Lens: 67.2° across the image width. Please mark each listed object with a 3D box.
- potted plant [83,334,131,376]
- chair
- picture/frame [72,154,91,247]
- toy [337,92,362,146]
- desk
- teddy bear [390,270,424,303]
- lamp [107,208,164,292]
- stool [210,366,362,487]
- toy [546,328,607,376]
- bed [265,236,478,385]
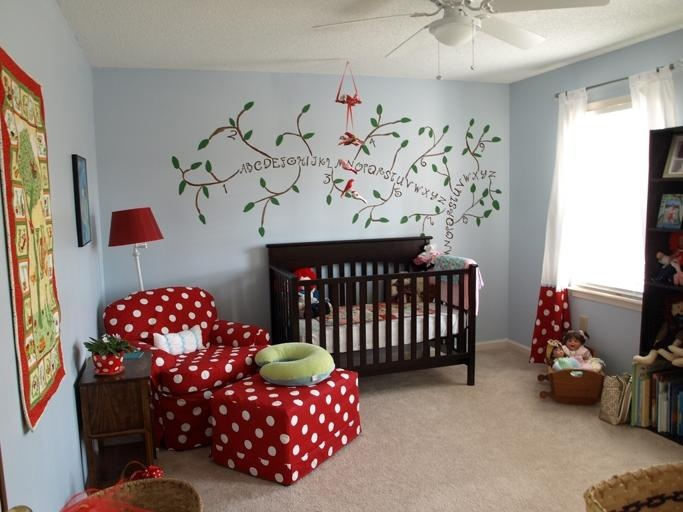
[{"bbox_3d":[-1.400,0.572,3.074,0.229,0.194,0.247,-5,-6,44],"label":"potted plant"},{"bbox_3d":[-1.111,0.673,3.832,1.128,1.062,1.005,3,5,39],"label":"chair"},{"bbox_3d":[-1.703,-0.360,3.380,0.075,0.617,0.573,-6,14,-22],"label":"picture/frame"},{"bbox_3d":[0.069,-1.157,4.325,0.208,0.441,0.472,0,12,2],"label":"toy"},{"bbox_3d":[-1.304,0.944,2.956,0.395,0.735,0.701,-3,7,-16],"label":"desk"},{"bbox_3d":[0.560,0.262,4.356,0.265,0.175,0.274,1,-2,-17],"label":"teddy bear"},{"bbox_3d":[-1.557,-0.034,3.870,0.349,0.662,0.421,-8,15,-30],"label":"lamp"},{"bbox_3d":[-0.406,0.942,3.217,0.567,0.393,0.759,0,3,34],"label":"stool"},{"bbox_3d":[1.818,0.767,4.044,0.260,0.239,0.429,-2,-4,21],"label":"toy"},{"bbox_3d":[0.244,0.475,4.311,1.667,1.127,0.938,-3,13,-10],"label":"bed"}]
